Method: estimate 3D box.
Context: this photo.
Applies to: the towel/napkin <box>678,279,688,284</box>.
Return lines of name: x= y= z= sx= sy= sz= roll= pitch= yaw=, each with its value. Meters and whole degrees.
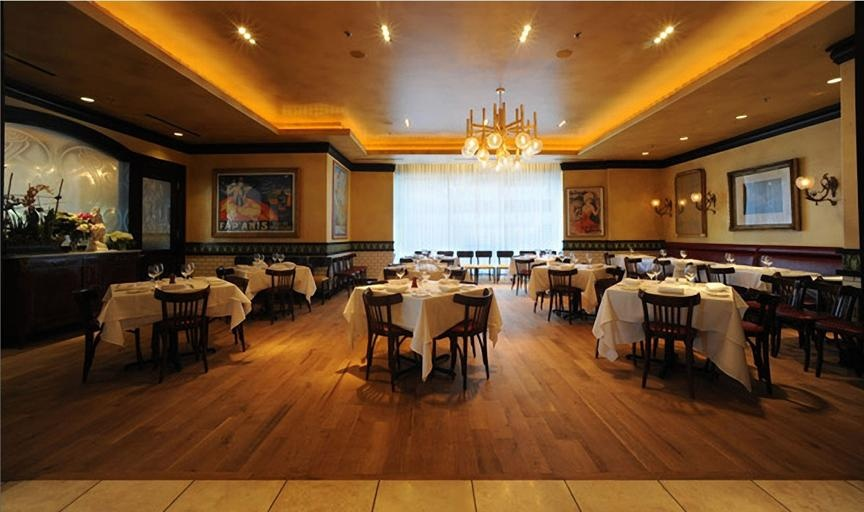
towel/napkin: x=4.104 y=0.420 z=8.368 sx=0.155 sy=0.102 sz=0.115 roll=-2 pitch=-5 yaw=32

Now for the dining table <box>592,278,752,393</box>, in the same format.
dining table: x=3.992 y=1.020 z=8.384 sx=1.963 sy=1.052 sz=1.725 roll=1 pitch=3 yaw=25

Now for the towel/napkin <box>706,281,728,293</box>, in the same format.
towel/napkin: x=4.412 y=0.499 z=7.922 sx=0.220 sy=0.062 sz=0.210 roll=-2 pitch=8 yaw=-4

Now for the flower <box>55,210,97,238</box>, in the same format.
flower: x=-6.723 y=-0.605 z=9.578 sx=0.505 sy=0.228 sz=0.514 roll=25 pitch=19 yaw=34

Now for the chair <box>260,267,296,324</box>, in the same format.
chair: x=-3.050 y=0.799 z=10.481 sx=0.683 sy=1.022 sz=0.700 roll=1 pitch=-9 yaw=-19

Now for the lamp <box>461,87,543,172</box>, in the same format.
lamp: x=1.337 y=-2.584 z=9.876 sx=1.498 sy=1.579 sz=1.417 roll=-1 pitch=-3 yaw=5

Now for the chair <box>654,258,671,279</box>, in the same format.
chair: x=4.834 y=0.257 z=10.725 sx=0.390 sy=0.491 sz=0.422 roll=-3 pitch=3 yaw=10

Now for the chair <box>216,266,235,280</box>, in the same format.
chair: x=-4.138 y=0.323 z=10.062 sx=0.274 sy=0.276 sz=0.253 roll=6 pitch=9 yaw=35

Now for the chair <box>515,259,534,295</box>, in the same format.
chair: x=2.287 y=0.466 z=12.272 sx=0.526 sy=0.744 sz=0.529 roll=-3 pitch=-1 yaw=-12

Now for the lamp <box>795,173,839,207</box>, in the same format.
lamp: x=7.815 y=-1.331 z=10.357 sx=0.678 sy=0.725 sz=0.425 roll=-6 pitch=2 yaw=16

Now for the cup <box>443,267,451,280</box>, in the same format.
cup: x=0.291 y=0.331 z=10.118 sx=0.162 sy=0.228 sz=0.151 roll=2 pitch=-5 yaw=0

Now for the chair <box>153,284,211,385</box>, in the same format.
chair: x=-4.019 y=1.186 z=8.238 sx=0.771 sy=1.445 sz=1.152 roll=-1 pitch=3 yaw=-25

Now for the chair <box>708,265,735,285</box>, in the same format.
chair: x=5.576 y=0.403 z=9.847 sx=0.411 sy=0.549 sz=0.472 roll=0 pitch=5 yaw=28

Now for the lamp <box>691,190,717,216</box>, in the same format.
lamp: x=7.079 y=-1.371 z=13.178 sx=0.574 sy=0.637 sz=0.482 roll=2 pitch=-3 yaw=-5

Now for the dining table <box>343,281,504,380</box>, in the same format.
dining table: x=-0.100 y=1.043 z=8.384 sx=1.932 sy=0.946 sz=1.806 roll=-8 pitch=8 yaw=-42

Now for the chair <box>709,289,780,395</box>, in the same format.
chair: x=4.904 y=1.274 z=7.755 sx=0.521 sy=1.514 sz=0.698 roll=2 pitch=3 yaw=28

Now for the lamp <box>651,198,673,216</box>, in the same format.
lamp: x=6.624 y=-1.415 z=14.676 sx=0.521 sy=0.615 sz=0.468 roll=-1 pitch=0 yaw=-24

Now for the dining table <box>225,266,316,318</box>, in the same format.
dining table: x=-3.185 y=0.588 z=10.809 sx=1.725 sy=0.690 sz=1.769 roll=0 pitch=0 yaw=21

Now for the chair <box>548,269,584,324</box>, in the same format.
chair: x=2.742 y=0.743 z=10.553 sx=0.685 sy=1.061 sz=1.459 roll=1 pitch=3 yaw=13

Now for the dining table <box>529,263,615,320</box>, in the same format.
dining table: x=2.707 y=0.726 z=10.280 sx=1.269 sy=0.712 sz=1.229 roll=0 pitch=-2 yaw=5

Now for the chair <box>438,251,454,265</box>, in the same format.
chair: x=0.359 y=0.033 z=13.252 sx=0.366 sy=0.455 sz=0.380 roll=1 pitch=-9 yaw=-2

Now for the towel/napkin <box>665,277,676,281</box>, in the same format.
towel/napkin: x=4.008 y=0.402 z=8.583 sx=0.137 sy=0.031 sz=0.126 roll=1 pitch=4 yaw=13
